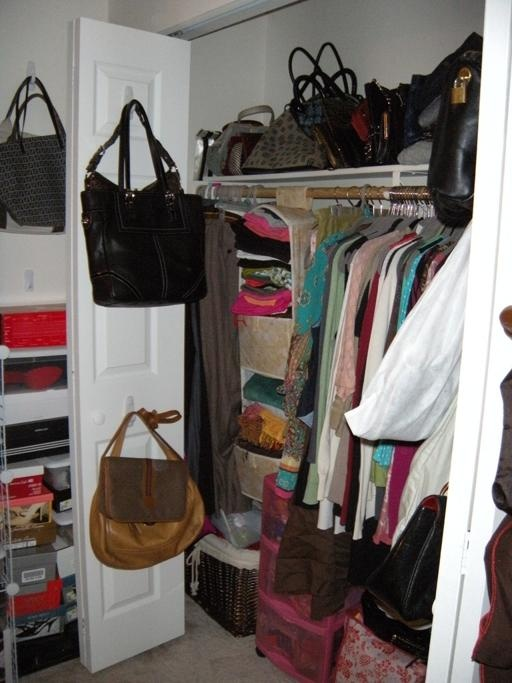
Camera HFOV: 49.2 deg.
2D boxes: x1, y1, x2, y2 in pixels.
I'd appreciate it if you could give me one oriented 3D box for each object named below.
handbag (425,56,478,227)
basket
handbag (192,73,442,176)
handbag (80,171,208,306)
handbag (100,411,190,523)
[{"bbox_3d":[0.308,-0.320,0.871,0.071,0.245,0.251,2,11,20],"label":"handbag"},{"bbox_3d":[-0.138,0.958,2.231,0.242,0.177,0.349,0,0,-35],"label":"basket"},{"bbox_3d":[0.209,-0.698,1.919,0.567,0.251,0.810,-21,18,-32],"label":"handbag"},{"bbox_3d":[-0.318,-0.278,1.534,0.358,0.361,0.118,-8,9,-37],"label":"handbag"},{"bbox_3d":[-0.345,0.386,1.693,0.308,0.417,0.157,4,-9,-33],"label":"handbag"}]
